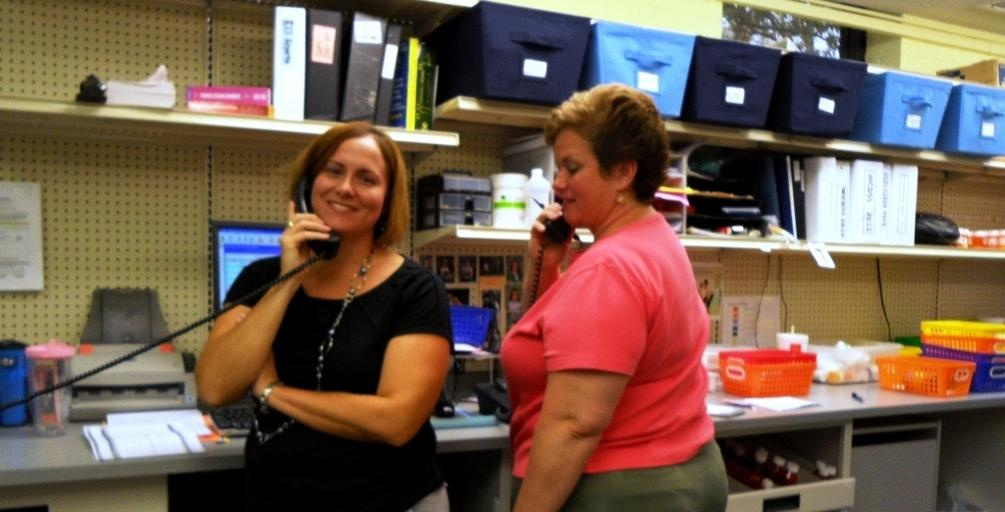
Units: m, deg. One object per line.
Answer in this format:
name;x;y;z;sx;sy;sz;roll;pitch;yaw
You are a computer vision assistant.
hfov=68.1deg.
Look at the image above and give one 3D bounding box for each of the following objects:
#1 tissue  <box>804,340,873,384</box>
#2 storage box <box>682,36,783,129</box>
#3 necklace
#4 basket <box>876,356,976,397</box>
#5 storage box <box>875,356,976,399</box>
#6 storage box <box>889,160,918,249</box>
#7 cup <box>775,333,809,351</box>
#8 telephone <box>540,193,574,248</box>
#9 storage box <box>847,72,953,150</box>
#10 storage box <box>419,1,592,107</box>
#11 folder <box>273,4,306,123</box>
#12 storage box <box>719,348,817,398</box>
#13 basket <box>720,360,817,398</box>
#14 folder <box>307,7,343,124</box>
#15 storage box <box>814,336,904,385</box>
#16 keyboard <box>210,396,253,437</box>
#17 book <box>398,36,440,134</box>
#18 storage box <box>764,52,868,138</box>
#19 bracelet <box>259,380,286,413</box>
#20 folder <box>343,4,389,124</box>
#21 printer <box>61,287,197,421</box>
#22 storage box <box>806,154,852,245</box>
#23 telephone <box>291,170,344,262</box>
tissue ;2.144;0.680;4.730;0.330;0.097;0.301;1;0;-14
storage box;1.385;-1.070;4.739;0.527;0.410;0.589;10;6;-5
necklace;-0.968;0.417;3.436;0.195;1.048;0.336;34;-6;-26
basket;2.563;0.701;4.609;0.282;0.150;0.394;2;0;-32
storage box;2.554;0.712;4.616;0.282;0.150;0.394;3;-1;-32
storage box;2.686;-0.346;5.004;0.261;0.540;0.075;-1;2;-32
cup;1.859;0.541;4.796;0.151;0.090;0.138;1;-8;0
telephone;0.225;-0.186;3.739;0.078;0.194;0.245;39;-27;-4
storage box;2.587;-0.955;5.069;0.577;0.382;0.540;13;3;-11
storage box;0.006;-1.133;4.433;0.606;0.327;0.689;2;3;-13
folder;-1.158;-1.038;4.023;0.181;0.592;0.030;0;2;-5
storage box;1.619;0.729;4.582;0.528;0.189;0.337;5;-9;-26
basket;1.596;0.727;4.492;0.409;0.146;0.255;1;-2;-22
folder;-0.985;-1.027;4.068;0.192;0.586;0.059;0;2;-17
storage box;2.252;0.638;4.752;0.460;0.142;0.339;-1;-4;25
keyboard;-1.403;0.810;3.847;0.182;0.039;0.171;4;38;-39
book;-0.487;-0.958;4.234;0.234;0.522;0.585;1;9;-8
storage box;1.959;-1.000;4.816;0.602;0.397;0.570;8;3;10
bracelet;-1.080;0.636;3.419;0.058;0.139;0.113;19;4;2
folder;-0.771;-1.032;4.108;0.242;0.577;0.037;0;2;-12
printer;-1.986;0.503;3.997;0.587;0.645;0.487;-1;2;-24
storage box;2.125;-0.365;4.865;0.316;0.545;0.082;0;2;-5
telephone;-0.873;-0.187;3.509;0.157;0.475;0.130;-13;-22;3
